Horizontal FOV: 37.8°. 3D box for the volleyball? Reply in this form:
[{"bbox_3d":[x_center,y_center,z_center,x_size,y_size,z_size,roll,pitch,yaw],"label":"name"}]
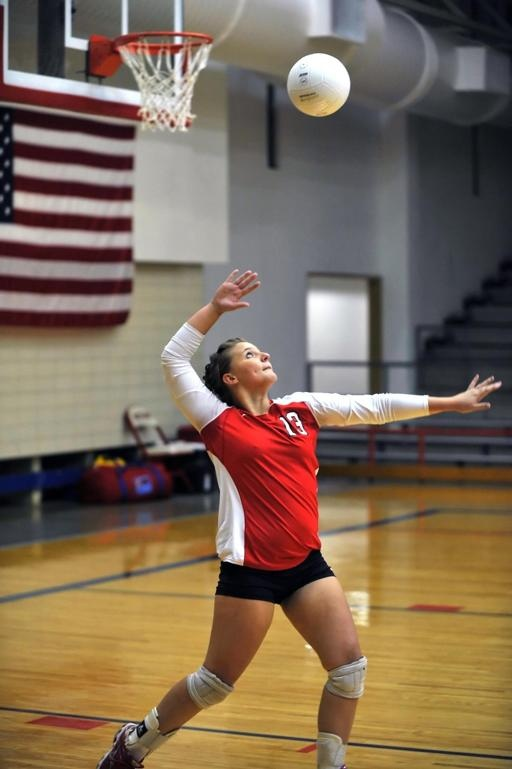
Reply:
[{"bbox_3d":[0.167,-0.786,2.013,0.179,0.164,0.166,2,-14,4],"label":"volleyball"}]
